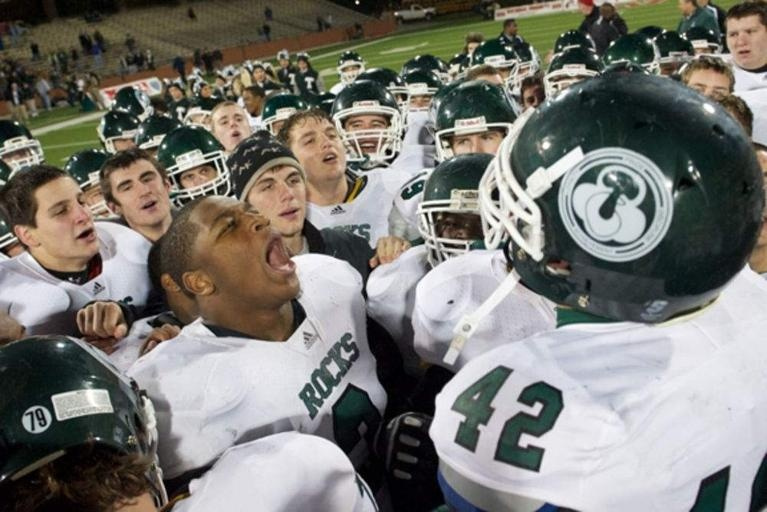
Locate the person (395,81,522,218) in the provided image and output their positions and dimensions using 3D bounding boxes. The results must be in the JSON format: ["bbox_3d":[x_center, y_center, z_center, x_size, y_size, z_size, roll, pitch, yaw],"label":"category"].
[{"bbox_3d":[0.487,-0.770,5.086,0.717,0.770,0.980,7,32,21],"label":"person"}]

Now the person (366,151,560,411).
[{"bbox_3d":[0.313,0.027,3.523,0.855,0.425,1.145,11,53,-19],"label":"person"}]

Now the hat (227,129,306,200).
[{"bbox_3d":[-0.714,-0.478,4.285,0.352,0.301,0.398,-37,-6,-30],"label":"hat"}]

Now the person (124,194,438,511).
[{"bbox_3d":[-0.409,0.441,3.206,0.564,1.229,0.997,-31,3,41],"label":"person"}]
